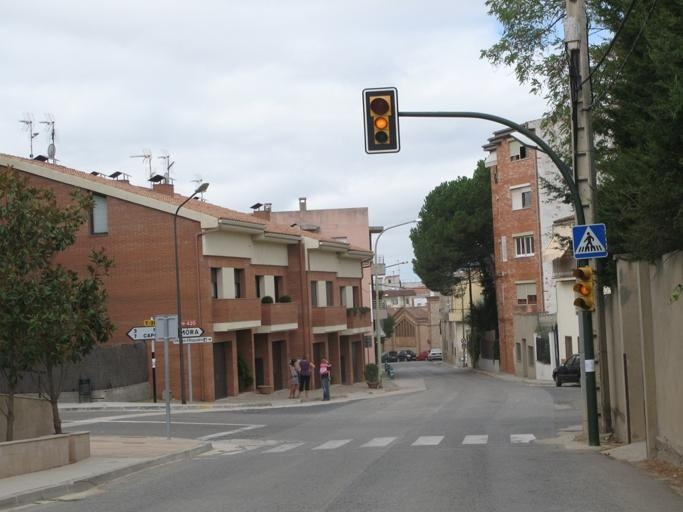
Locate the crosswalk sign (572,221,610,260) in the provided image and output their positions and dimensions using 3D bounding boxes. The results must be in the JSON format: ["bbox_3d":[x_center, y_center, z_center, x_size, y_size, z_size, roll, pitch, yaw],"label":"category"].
[{"bbox_3d":[5.743,-0.382,21.233,0.777,0.899,0.040,-3,0,18],"label":"crosswalk sign"}]

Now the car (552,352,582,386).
[{"bbox_3d":[11.097,5.562,45.240,0.949,1.448,2.206,-3,-8,-13],"label":"car"}]

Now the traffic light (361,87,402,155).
[{"bbox_3d":[0.831,-2.933,19.946,0.765,1.493,0.251,-2,30,4],"label":"traffic light"}]

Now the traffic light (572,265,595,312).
[{"bbox_3d":[5.631,0.730,21.472,0.451,1.089,0.714,-6,-7,12],"label":"traffic light"}]
